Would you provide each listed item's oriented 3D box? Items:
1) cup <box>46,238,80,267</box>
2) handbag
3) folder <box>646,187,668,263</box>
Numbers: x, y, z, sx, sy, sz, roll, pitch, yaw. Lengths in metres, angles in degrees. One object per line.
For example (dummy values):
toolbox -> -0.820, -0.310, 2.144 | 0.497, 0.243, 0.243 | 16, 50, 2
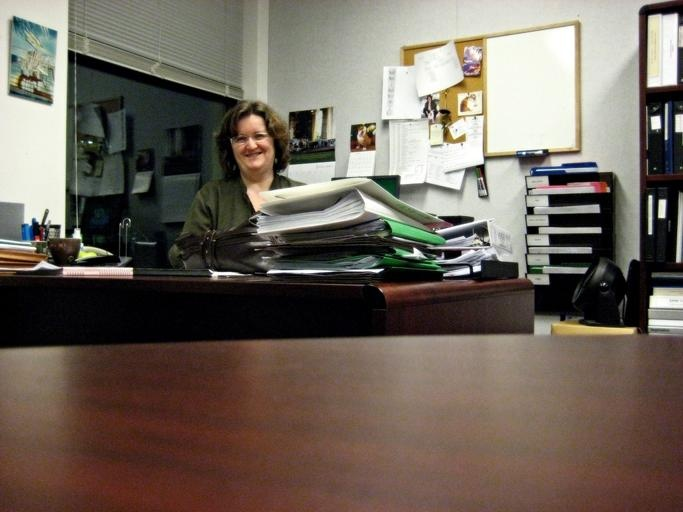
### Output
cup -> -0.692, -0.007, 1.288 | 0.069, 0.058, 0.068 | -3, -1, 0
handbag -> -0.168, -0.007, 0.736 | 0.106, 0.046, 0.107 | -2, -1, 23
folder -> 1.345, -0.133, 2.190 | 0.088, 0.313, 0.067 | 3, 6, 30
